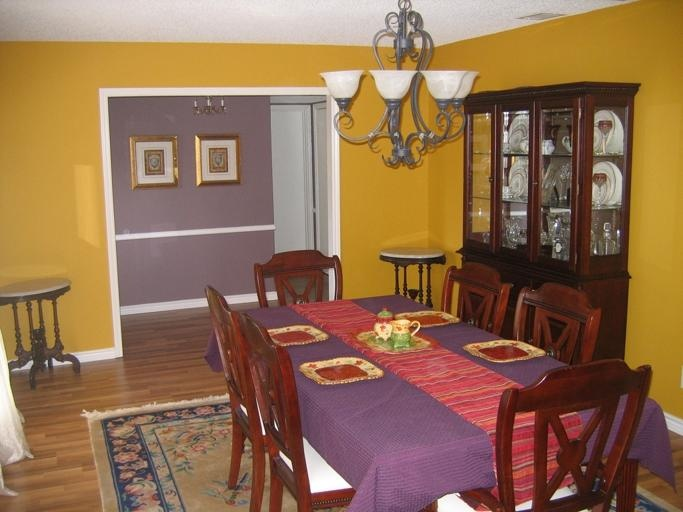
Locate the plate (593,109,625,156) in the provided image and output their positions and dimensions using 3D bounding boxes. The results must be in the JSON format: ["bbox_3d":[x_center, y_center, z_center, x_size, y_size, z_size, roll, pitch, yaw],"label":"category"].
[{"bbox_3d":[1.818,-0.856,3.748,0.288,0.339,0.044,-4,9,-21],"label":"plate"}]

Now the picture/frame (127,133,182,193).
[{"bbox_3d":[-2.351,-1.171,6.794,0.688,0.801,0.057,-3,9,-22],"label":"picture/frame"}]

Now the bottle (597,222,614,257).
[{"bbox_3d":[1.846,-0.117,3.838,0.202,0.233,0.040,-7,13,-27],"label":"bottle"}]

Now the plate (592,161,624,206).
[{"bbox_3d":[1.839,-0.497,3.799,0.245,0.308,0.041,-4,12,-14],"label":"plate"}]

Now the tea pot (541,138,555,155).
[{"bbox_3d":[1.510,-0.794,4.010,0.093,0.087,0.094,-1,6,0],"label":"tea pot"}]

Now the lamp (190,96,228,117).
[{"bbox_3d":[-1.633,-1.861,6.792,0.432,0.230,0.520,-4,12,-14],"label":"lamp"}]

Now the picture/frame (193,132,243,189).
[{"bbox_3d":[-1.612,-1.241,7.012,0.688,0.785,0.058,-3,7,-24],"label":"picture/frame"}]
